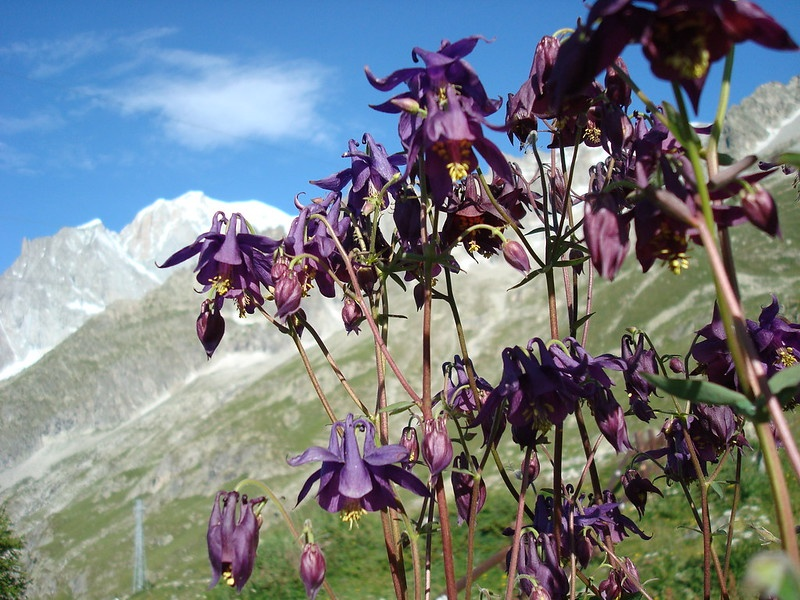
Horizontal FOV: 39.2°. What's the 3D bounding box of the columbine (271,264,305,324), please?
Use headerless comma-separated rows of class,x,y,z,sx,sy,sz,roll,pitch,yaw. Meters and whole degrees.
columbine,-2.455,-0.125,24.662,0.492,1.304,0.439,4,-4,-13
